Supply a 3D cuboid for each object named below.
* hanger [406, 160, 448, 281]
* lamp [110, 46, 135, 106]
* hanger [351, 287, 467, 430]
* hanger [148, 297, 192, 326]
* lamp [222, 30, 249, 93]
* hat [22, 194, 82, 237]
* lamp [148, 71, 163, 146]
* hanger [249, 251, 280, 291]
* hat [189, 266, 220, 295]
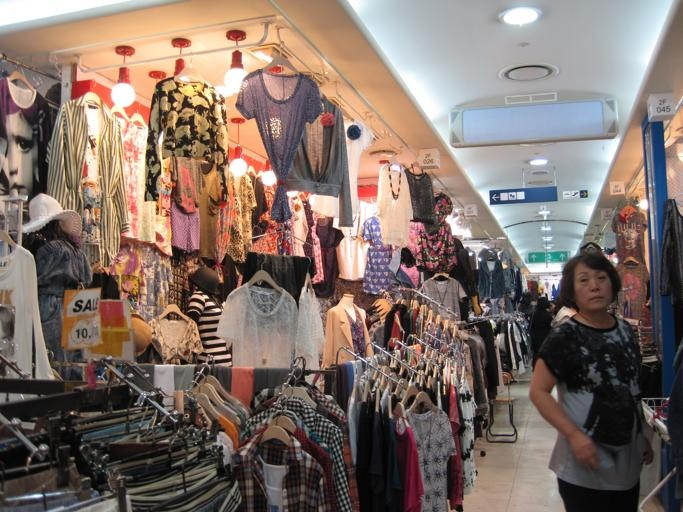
[{"bbox_3d":[1.287,-0.546,7.789,0.571,1.339,1.129,-1,0,13],"label":"hanger"},{"bbox_3d":[-2.063,-1.699,5.146,0.197,0.626,0.892,-1,0,-21],"label":"lamp"},{"bbox_3d":[0.667,0.869,4.783,0.813,1.440,1.023,-4,-11,31],"label":"hanger"},{"bbox_3d":[-1.711,0.577,5.447,0.365,0.224,0.683,-1,0,-17],"label":"hanger"},{"bbox_3d":[-0.963,-1.767,4.976,0.193,0.568,0.620,-1,0,-10],"label":"lamp"},{"bbox_3d":[-2.107,-0.299,3.940,0.361,0.356,0.411,-1,0,-31],"label":"hat"},{"bbox_3d":[-1.670,-1.262,4.869,0.126,0.708,0.294,-1,0,-26],"label":"lamp"},{"bbox_3d":[-0.673,0.143,4.683,0.097,0.283,0.278,-6,-11,40],"label":"hanger"},{"bbox_3d":[-1.545,0.275,6.008,0.440,0.302,0.234,-1,0,38],"label":"hat"}]
